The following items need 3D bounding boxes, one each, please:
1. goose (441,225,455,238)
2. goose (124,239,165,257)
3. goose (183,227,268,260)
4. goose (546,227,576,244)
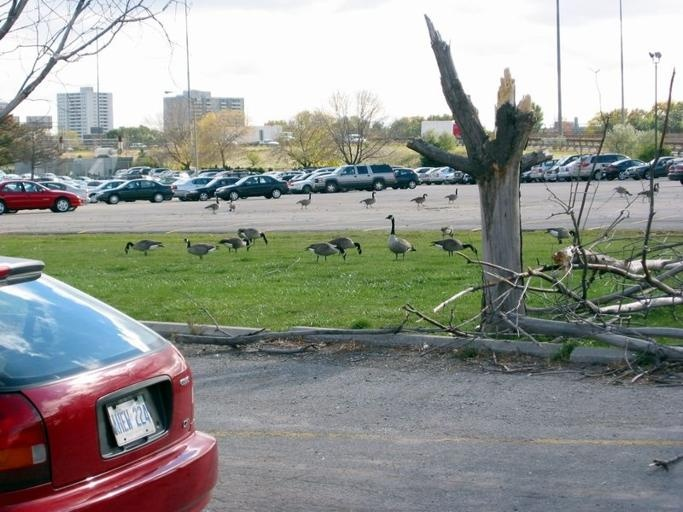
[{"bbox_3d":[2.373,-0.564,28.114,0.180,0.240,0.621,-1,0,5],"label":"goose"},{"bbox_3d":[-4.110,-0.182,26.017,0.671,0.328,0.204,-18,-5,23],"label":"goose"},{"bbox_3d":[-2.407,-0.259,25.561,0.896,0.411,3.161,0,6,13],"label":"goose"},{"bbox_3d":[4.092,-0.448,23.943,0.597,0.335,0.580,7,8,31],"label":"goose"}]
